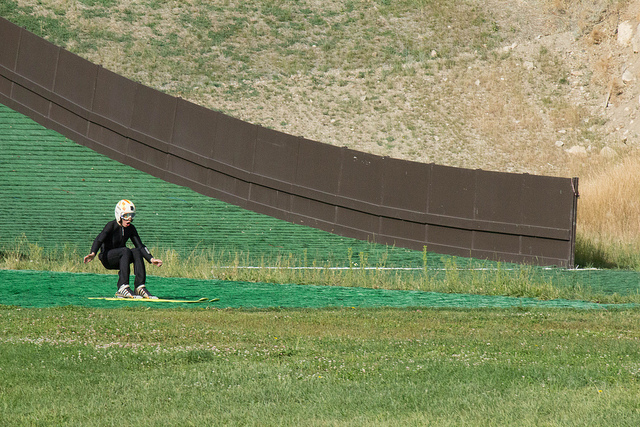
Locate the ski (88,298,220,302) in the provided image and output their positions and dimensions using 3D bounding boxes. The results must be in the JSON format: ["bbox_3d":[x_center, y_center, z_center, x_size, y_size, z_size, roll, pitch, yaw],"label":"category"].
[{"bbox_3d":[-8.143,4.436,84.113,6.020,0.247,0.292,0,-10,-2],"label":"ski"}]
